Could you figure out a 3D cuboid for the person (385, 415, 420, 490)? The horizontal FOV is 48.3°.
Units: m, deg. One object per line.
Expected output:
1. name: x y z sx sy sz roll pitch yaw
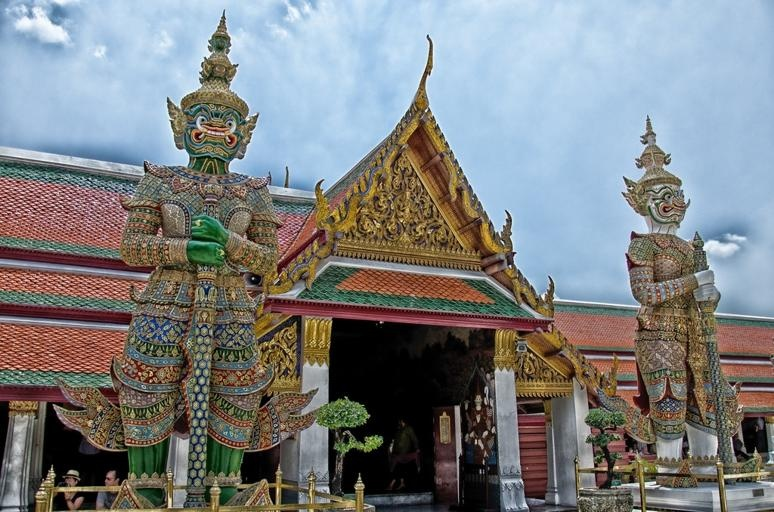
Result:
1. person: 0.313 3.494 15.272 0.560 1.219 0.444 -3 -20 2
